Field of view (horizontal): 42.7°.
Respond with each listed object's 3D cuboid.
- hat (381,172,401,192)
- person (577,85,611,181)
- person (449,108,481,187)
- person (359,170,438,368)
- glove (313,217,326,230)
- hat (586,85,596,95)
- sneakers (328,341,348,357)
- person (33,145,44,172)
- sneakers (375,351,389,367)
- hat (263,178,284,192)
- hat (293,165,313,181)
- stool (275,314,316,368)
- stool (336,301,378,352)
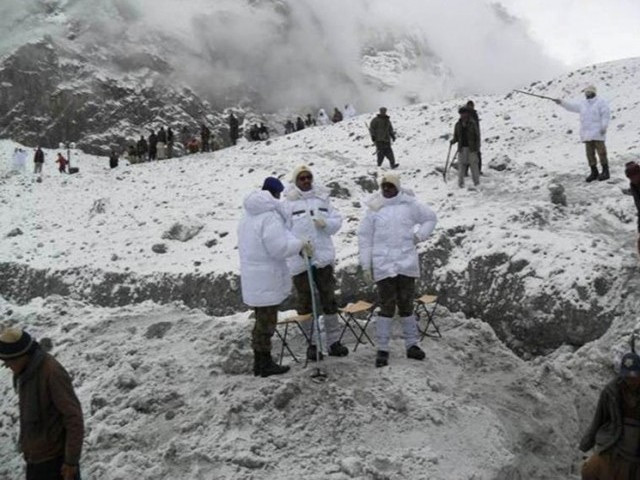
[{"bbox_3d":[1.379,-1.162,16.137,0.380,0.457,0.543,2,10,15],"label":"hat"},{"bbox_3d":[6.707,-2.539,19.782,0.682,2.321,0.743,-3,7,25],"label":"person"},{"bbox_3d":[3.894,-2.410,21.462,0.624,2.099,1.042,-6,6,-1],"label":"person"},{"bbox_3d":[1.483,0.560,15.764,1.386,3.582,0.916,-6,6,2],"label":"person"},{"bbox_3d":[-0.011,-0.310,15.885,0.230,0.239,0.199,-7,6,-6],"label":"glove"},{"bbox_3d":[6.578,-3.605,19.753,0.208,0.198,0.481,-4,7,24],"label":"hat"},{"bbox_3d":[0.351,2.145,15.935,0.356,0.270,0.227,-3,-3,8],"label":"sneakers"},{"bbox_3d":[-11.486,-3.185,33.153,0.412,1.060,1.890,-8,7,-18],"label":"person"},{"bbox_3d":[1.198,2.262,15.590,0.330,0.275,0.262,-8,7,-16],"label":"sneakers"},{"bbox_3d":[-0.923,-1.032,15.724,0.325,0.236,0.247,-7,12,-21],"label":"hat"},{"bbox_3d":[-0.408,-1.301,16.084,0.290,0.238,0.295,-17,-12,-30],"label":"hat"},{"bbox_3d":[-0.508,1.997,16.626,0.814,1.293,0.911,-6,-16,23],"label":"stool"},{"bbox_3d":[0.705,1.717,17.059,0.893,1.317,0.734,0,1,-44],"label":"stool"}]
